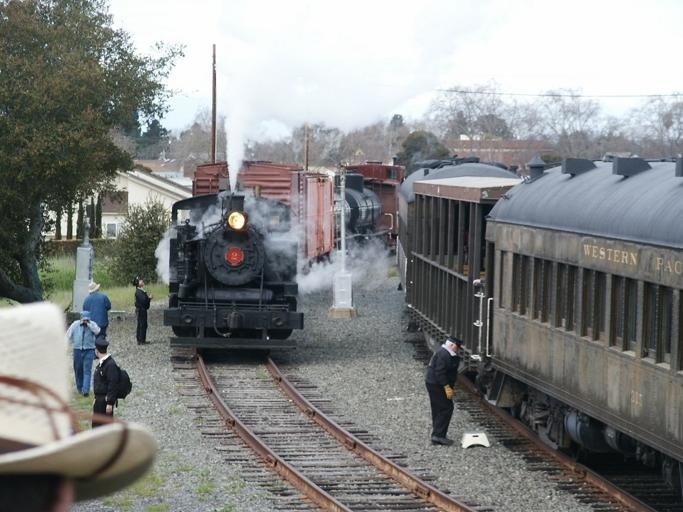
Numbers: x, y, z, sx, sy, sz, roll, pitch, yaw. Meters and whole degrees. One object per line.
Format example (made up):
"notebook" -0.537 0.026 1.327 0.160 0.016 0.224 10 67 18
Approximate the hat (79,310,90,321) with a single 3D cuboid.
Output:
"hat" -4.328 0.985 12.749 0.163 0.204 0.241 0 -2 -9

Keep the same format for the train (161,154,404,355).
"train" -2.546 -0.561 24.333 3.424 4.927 17.708 0 2 4

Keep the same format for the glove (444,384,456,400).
"glove" 1.599 1.979 11.106 0.087 0.302 0.206 -5 -8 -2

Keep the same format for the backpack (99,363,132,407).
"backpack" -2.948 1.665 9.885 0.443 0.541 0.334 0 6 -13

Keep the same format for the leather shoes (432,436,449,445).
"leather shoes" 1.417 2.680 11.049 0.267 0.143 0.106 1 6 3

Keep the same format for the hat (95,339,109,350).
"hat" -3.091 1.155 9.785 0.159 0.144 0.214 0 20 -20
